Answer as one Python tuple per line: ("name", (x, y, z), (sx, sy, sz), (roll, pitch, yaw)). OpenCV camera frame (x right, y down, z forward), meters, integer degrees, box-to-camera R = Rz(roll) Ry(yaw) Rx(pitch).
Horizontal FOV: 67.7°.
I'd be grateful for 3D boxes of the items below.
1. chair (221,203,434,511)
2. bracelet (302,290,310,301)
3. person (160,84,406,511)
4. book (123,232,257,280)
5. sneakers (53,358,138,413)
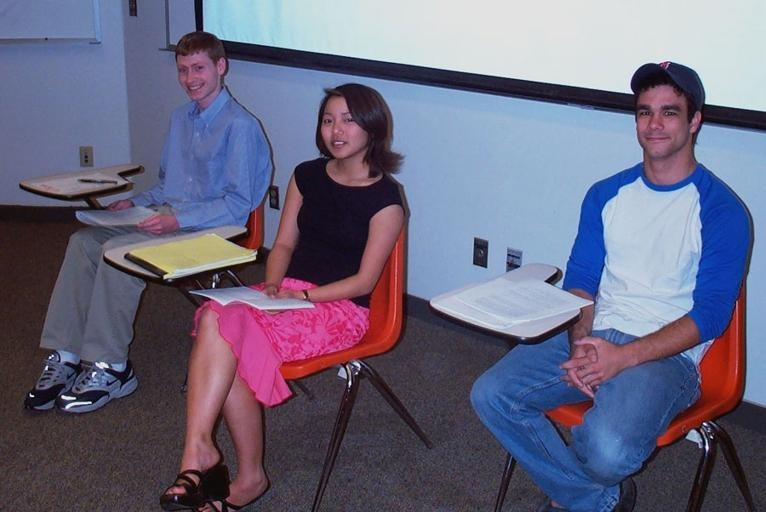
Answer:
("chair", (-0.296, 0.337, 3.122), (0.971, 1.644, 0.965), (-5, 13, -30))
("bracelet", (-0.321, 0.164, 2.373), (0.031, 0.016, 0.041), (17, 40, -55))
("person", (-0.392, 0.175, 2.386), (0.580, 1.606, 1.295), (16, 28, 34))
("book", (-0.810, 0.000, 2.409), (0.490, 0.062, 0.317), (-15, 28, -29))
("sneakers", (-1.412, 0.647, 2.885), (0.156, 0.197, 0.390), (30, 34, 30))
